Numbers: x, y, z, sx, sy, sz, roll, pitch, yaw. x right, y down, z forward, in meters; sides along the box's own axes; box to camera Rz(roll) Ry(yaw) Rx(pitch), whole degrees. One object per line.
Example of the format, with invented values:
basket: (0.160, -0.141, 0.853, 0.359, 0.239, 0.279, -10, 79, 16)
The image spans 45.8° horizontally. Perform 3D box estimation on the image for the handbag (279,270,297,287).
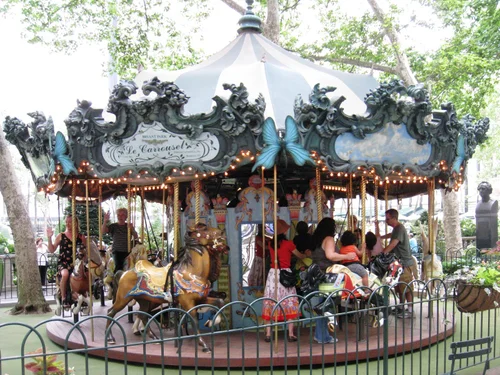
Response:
handbag: (0.734, 1.758, 11.450, 0.417, 0.431, 0.216, 3, -4, -35)

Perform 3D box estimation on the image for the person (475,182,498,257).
person: (7.676, 0.922, 19.090, 0.757, 2.330, 0.955, -6, -12, 21)

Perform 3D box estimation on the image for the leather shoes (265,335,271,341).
leather shoes: (0.325, 2.900, 11.364, 0.074, 0.099, 0.200, 3, -13, -24)

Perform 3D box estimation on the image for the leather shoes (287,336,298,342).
leather shoes: (0.830, 2.907, 11.396, 0.074, 0.093, 0.213, 3, 1, 22)

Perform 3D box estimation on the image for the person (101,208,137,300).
person: (-3.036, 1.502, 13.848, 0.831, 2.134, 1.320, 1, -11, -14)

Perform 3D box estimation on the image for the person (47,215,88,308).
person: (-3.970, 1.532, 12.729, 0.803, 1.979, 1.564, 2, -12, -19)
